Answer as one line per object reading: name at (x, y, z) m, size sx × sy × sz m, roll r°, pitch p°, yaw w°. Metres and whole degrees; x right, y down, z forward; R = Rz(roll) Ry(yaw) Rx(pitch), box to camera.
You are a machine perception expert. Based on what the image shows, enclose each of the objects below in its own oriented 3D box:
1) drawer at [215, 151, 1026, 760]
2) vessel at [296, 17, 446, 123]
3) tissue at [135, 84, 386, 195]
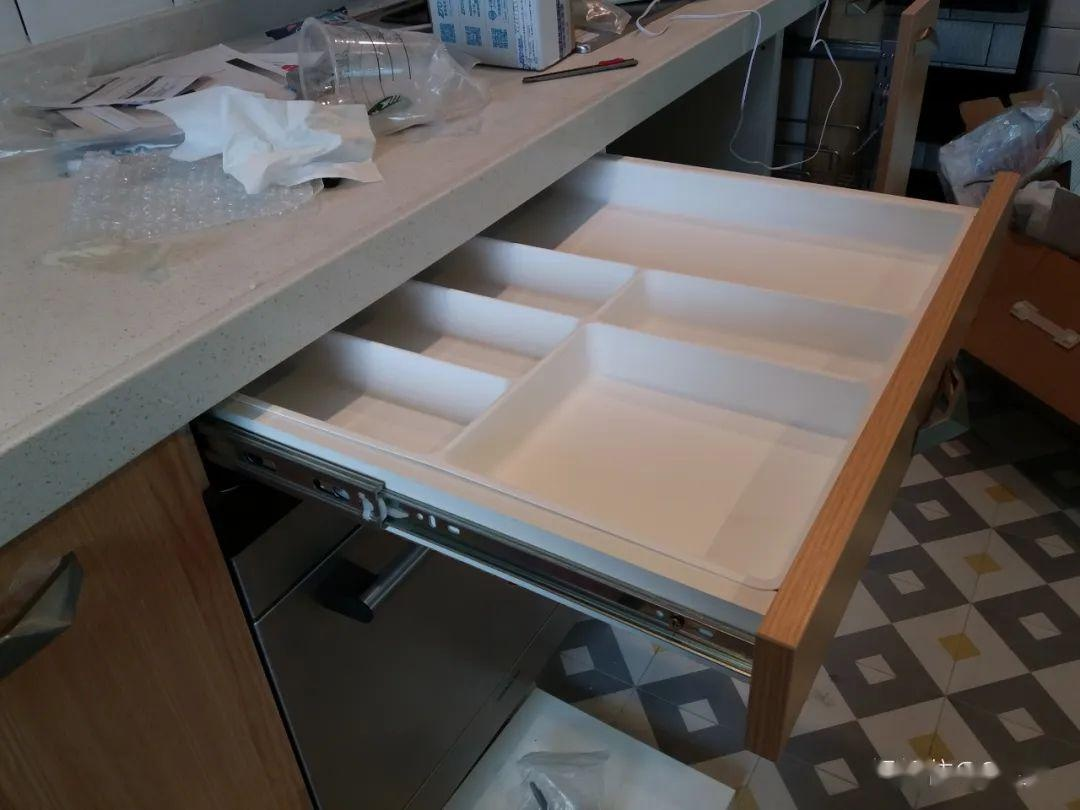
drawer at (0.040, 0.032, 0.918) m, size 0.711 × 0.184 × 0.788 m, roll 22°, pitch 51°, yaw 27°
vessel at (-0.217, -0.514, 1.123) m, size 0.082 × 0.120 × 0.078 m, roll 2°, pitch 29°, yaw 16°
tissue at (-0.321, -0.329, 0.927) m, size 0.193 × 0.045 × 0.186 m, roll 44°, pitch 51°, yaw 17°
